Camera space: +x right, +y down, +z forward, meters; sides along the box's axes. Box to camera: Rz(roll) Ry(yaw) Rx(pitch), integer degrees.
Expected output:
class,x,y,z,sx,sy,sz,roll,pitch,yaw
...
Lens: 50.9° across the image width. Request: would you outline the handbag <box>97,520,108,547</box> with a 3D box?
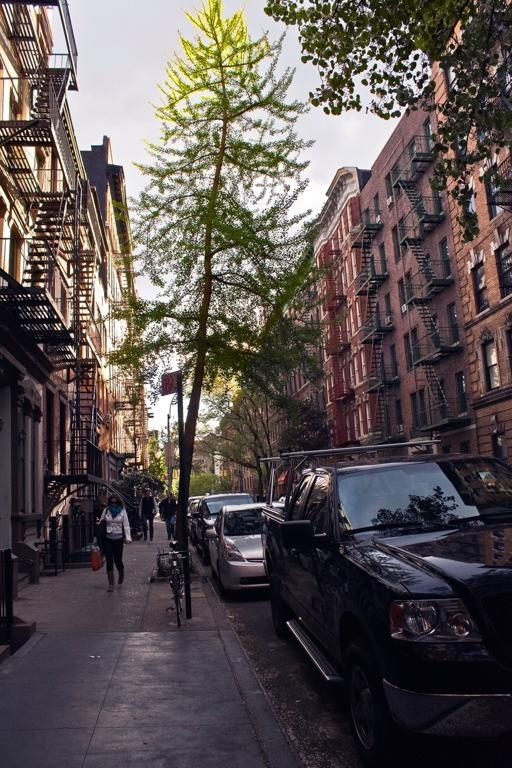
class,x,y,z,sx,sy,sz,roll,pitch,yaw
handbag,-3.426,3.362,12.021,0.171,0.532,0.458,4,-23,-13
